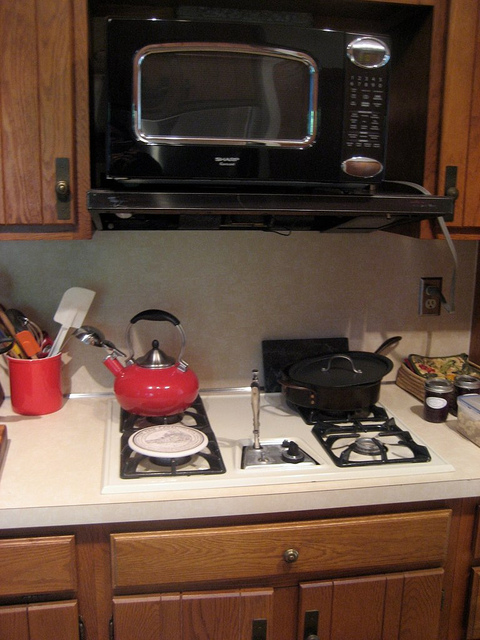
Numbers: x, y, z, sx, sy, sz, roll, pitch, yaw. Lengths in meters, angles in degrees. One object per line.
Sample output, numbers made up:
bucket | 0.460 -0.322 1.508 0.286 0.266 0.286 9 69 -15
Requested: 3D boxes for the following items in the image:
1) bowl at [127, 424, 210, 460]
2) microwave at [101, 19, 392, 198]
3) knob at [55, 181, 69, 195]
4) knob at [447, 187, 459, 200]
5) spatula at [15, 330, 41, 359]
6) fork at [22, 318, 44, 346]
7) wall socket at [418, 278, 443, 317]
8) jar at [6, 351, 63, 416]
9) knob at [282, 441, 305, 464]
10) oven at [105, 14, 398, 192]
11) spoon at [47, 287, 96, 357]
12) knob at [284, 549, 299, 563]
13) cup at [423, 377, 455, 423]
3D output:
bowl | -0.146 0.249 1.169 0.160 0.024 0.191 2 12 5
microwave | 0.017 -0.410 1.180 0.548 0.308 0.294 0 5 -8
knob | -0.357 -0.269 1.129 0.025 0.026 0.023 -3 13 -16
knob | 0.483 -0.289 1.269 0.028 0.026 0.009 3 11 -4
spatula | -0.514 0.056 1.365 0.037 0.074 0.019 -21 27 21
fork | -0.525 0.025 1.438 0.023 0.068 0.050 -43 10 -17
wall socket | 0.581 -0.071 1.700 0.081 0.120 0.023 -4 14 -22
jar | -0.508 0.165 1.403 0.121 0.159 0.073 -4 13 -22
knob | 0.111 0.277 1.169 0.040 0.026 0.038 -4 16 -17
oven | 0.003 -0.430 1.174 0.557 0.299 0.302 -4 14 -19
spoon | -0.430 -0.007 1.455 0.074 0.210 0.029 23 -3 -1
knob | 0.101 0.463 1.092 0.029 0.033 0.014 0 13 -2
cup | 0.503 0.206 1.431 0.069 0.100 0.070 0 14 0
